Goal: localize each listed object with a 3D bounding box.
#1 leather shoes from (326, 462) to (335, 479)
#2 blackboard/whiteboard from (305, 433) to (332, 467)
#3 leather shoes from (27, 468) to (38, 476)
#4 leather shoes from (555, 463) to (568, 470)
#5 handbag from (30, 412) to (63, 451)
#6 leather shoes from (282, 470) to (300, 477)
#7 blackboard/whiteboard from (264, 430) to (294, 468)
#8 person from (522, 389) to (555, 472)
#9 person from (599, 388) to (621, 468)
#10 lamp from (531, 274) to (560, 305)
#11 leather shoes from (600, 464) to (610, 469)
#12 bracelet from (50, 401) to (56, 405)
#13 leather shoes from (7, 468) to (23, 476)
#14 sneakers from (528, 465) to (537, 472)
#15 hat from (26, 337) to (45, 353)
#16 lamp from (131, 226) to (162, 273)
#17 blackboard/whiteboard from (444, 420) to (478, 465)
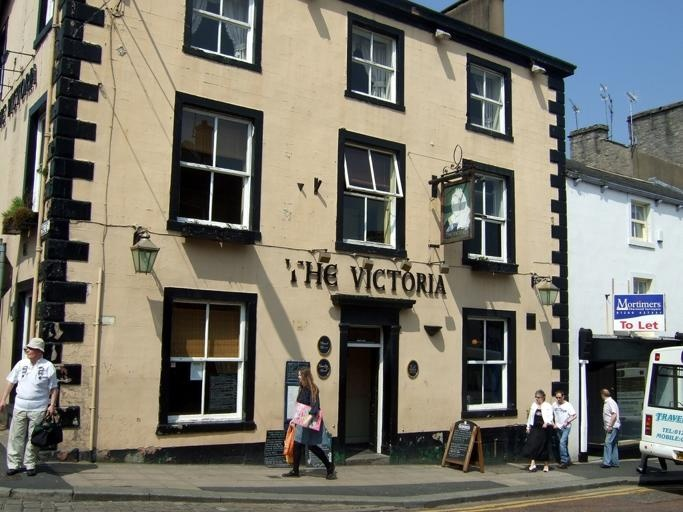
[{"bbox_3d":[-0.226,4.914,22.696,0.152,0.441,0.136,-3,-5,3],"label":"leather shoes"},{"bbox_3d":[-0.530,4.493,23.073,0.760,1.144,0.126,11,-25,-24],"label":"blackboard/whiteboard"},{"bbox_3d":[-6.216,4.395,20.348,0.205,0.105,0.094,-12,-13,34],"label":"leather shoes"},{"bbox_3d":[5.699,5.453,26.021,0.292,0.244,0.105,-1,-6,-4],"label":"leather shoes"},{"bbox_3d":[-5.924,3.577,20.473,0.372,0.712,0.583,-7,-16,31],"label":"handbag"},{"bbox_3d":[-1.099,4.875,22.443,0.376,0.177,0.149,7,-12,-12],"label":"leather shoes"},{"bbox_3d":[-1.426,4.471,23.088,0.776,1.202,0.149,6,-17,-26],"label":"blackboard/whiteboard"},{"bbox_3d":[5.072,4.519,25.695,0.684,2.034,1.151,-1,-14,12],"label":"person"},{"bbox_3d":[7.082,4.565,26.557,0.461,2.076,0.815,-2,-13,15],"label":"person"},{"bbox_3d":[5.657,0.895,27.322,0.829,0.904,0.683,11,-16,-32],"label":"lamp"},{"bbox_3d":[6.894,5.522,26.333,0.188,0.100,0.209,-2,-15,15],"label":"leather shoes"},{"bbox_3d":[-5.865,3.022,20.581,0.113,0.068,0.167,-6,-9,19],"label":"bracelet"},{"bbox_3d":[-6.549,4.377,20.291,0.277,0.126,0.110,0,-6,-16],"label":"leather shoes"},{"bbox_3d":[4.812,5.392,25.376,0.099,0.129,0.299,-5,-19,20],"label":"sneakers"},{"bbox_3d":[-6.222,1.869,20.710,0.281,0.190,0.317,2,-6,15],"label":"hat"},{"bbox_3d":[-4.294,-0.155,22.221,0.604,1.047,0.703,4,-14,-11],"label":"lamp"},{"bbox_3d":[2.993,4.711,25.096,0.668,1.231,0.703,31,-22,-29],"label":"blackboard/whiteboard"}]
